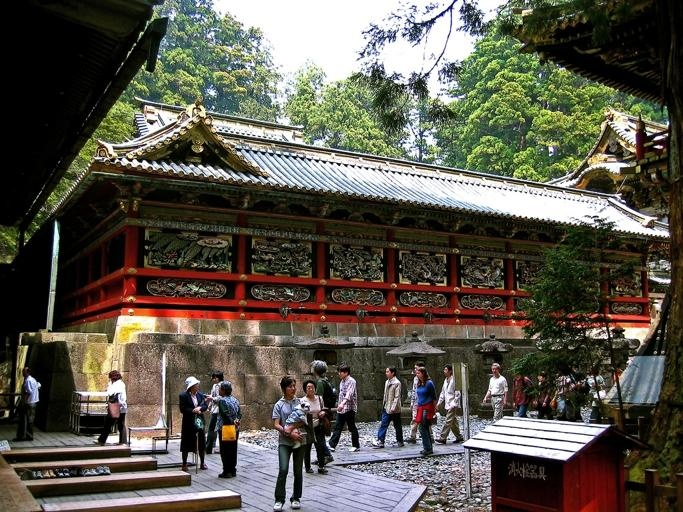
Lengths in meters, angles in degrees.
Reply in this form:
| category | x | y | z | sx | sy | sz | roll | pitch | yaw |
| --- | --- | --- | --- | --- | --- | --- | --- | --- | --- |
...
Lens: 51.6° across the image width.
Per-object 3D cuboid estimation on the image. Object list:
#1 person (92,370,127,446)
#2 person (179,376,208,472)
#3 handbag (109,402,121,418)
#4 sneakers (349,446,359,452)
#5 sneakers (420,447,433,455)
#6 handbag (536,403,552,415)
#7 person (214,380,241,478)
| category | x | y | z | sx | sy | sz | roll | pitch | yaw |
| --- | --- | --- | --- | --- | --- | --- | --- | --- | --- |
| person | -4.461 | 2.975 | 13.822 | 0.534 | 1.400 | 1.408 | 3 | -8 | -16 |
| person | -2.627 | 3.003 | 12.608 | 0.495 | 1.627 | 0.719 | 2 | -7 | -11 |
| handbag | -4.306 | 2.946 | 13.395 | 0.242 | 0.306 | 0.176 | 2 | -28 | -32 |
| sneakers | 0.259 | 3.963 | 14.360 | 0.076 | 0.076 | 0.192 | -1 | -29 | 36 |
| sneakers | 1.653 | 3.897 | 13.979 | 0.259 | 0.112 | 0.094 | 12 | -18 | -16 |
| handbag | 4.285 | 3.255 | 14.955 | 0.240 | 0.321 | 0.248 | 9 | 32 | 10 |
| person | -1.962 | 3.002 | 12.192 | 0.389 | 1.577 | 0.535 | 2 | -7 | -9 |
